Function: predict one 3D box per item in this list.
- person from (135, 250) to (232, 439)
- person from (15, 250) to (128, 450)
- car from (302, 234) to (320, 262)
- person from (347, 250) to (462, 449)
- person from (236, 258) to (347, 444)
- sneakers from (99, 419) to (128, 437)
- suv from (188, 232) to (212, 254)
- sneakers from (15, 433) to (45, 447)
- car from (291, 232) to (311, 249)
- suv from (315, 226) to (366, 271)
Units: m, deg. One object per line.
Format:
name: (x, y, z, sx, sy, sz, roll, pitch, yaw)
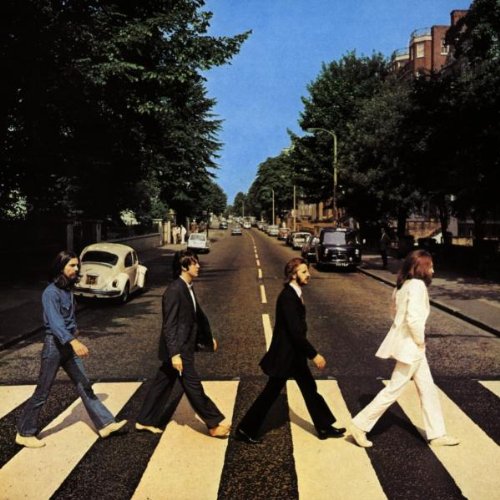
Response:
person: (-0.663, 0.970, 4.873, 0.932, 1.909, 0.623, 4, 11, 5)
person: (-1.773, 0.943, 4.738, 0.923, 1.822, 0.599, -2, 3, -31)
car: (3.374, -0.048, 27.056, 0.554, 0.887, 1.596, 1, 5, -4)
person: (1.492, 0.940, 4.723, 0.968, 1.837, 0.382, 0, 3, -7)
person: (0.373, 0.977, 4.705, 0.963, 1.767, 0.445, 1, 3, 12)
sneakers: (-1.355, 1.757, 4.832, 0.230, 0.115, 0.082, -23, 20, -23)
suv: (-3.683, -0.170, 35.766, 1.729, 1.630, 3.234, 1, 10, -1)
sneakers: (-2.089, 1.795, 4.665, 0.261, 0.125, 0.203, -1, 3, -26)
car: (4.031, -0.676, 40.148, 0.886, 0.954, 1.729, 0, -1, -5)
suv: (4.224, -0.039, 24.015, 1.275, 1.516, 2.378, 0, -4, 0)
